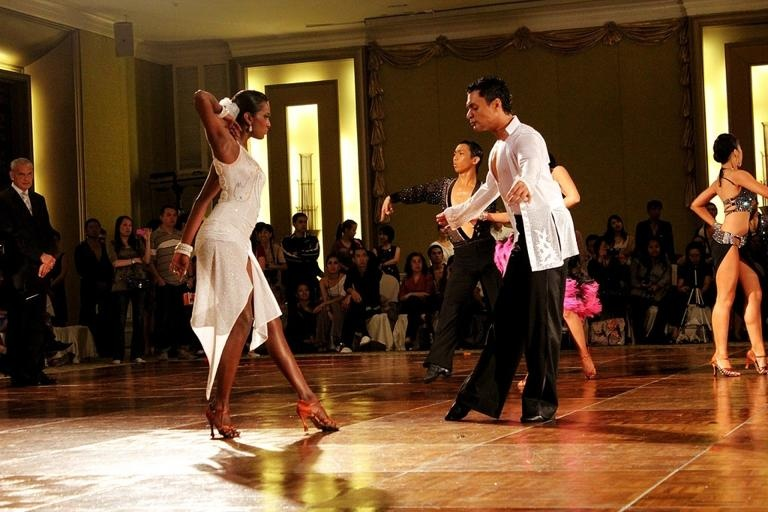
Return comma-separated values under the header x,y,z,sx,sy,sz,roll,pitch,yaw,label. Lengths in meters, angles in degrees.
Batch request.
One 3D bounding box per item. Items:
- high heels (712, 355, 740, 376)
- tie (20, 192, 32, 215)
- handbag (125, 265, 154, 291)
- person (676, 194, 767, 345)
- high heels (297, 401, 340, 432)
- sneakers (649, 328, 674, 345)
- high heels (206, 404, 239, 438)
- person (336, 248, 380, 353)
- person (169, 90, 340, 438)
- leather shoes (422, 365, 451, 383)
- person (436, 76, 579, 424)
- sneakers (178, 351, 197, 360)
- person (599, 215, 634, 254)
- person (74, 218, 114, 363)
x,y,z,sx,sy,sz,roll,pitch,yaw,label
2.682,0.861,5.633,0.189,0.127,0.270,-2,0,26,high heels
-3.485,-0.525,7.019,0.082,0.236,0.087,-2,0,17,tie
-3.306,0.264,9.647,0.374,0.365,0.283,-5,9,-31,handbag
3.083,0.109,6.390,0.607,1.303,1.865,-2,0,23,person
-0.349,0.872,3.894,0.293,0.166,0.103,17,-35,-42,high heels
3.870,1.113,9.933,0.525,0.215,0.158,5,-7,-31,sneakers
-0.859,0.872,3.808,0.187,0.187,0.139,-2,0,12,high heels
-0.357,0.605,10.205,0.628,1.413,0.382,-2,0,-9,person
-0.719,0.021,3.837,0.622,1.865,0.243,-2,0,-21,person
0.461,0.939,5.690,0.306,0.142,0.106,4,-25,-21,leather shoes
0.702,-0.055,4.060,0.625,1.734,0.775,-2,0,-35,person
-2.671,1.341,9.753,0.255,0.184,0.101,-3,5,-5,sneakers
3.739,-0.242,11.325,0.447,0.973,0.268,7,38,37,person
-4.018,0.447,9.961,0.450,2.064,1.190,-2,0,-24,person
